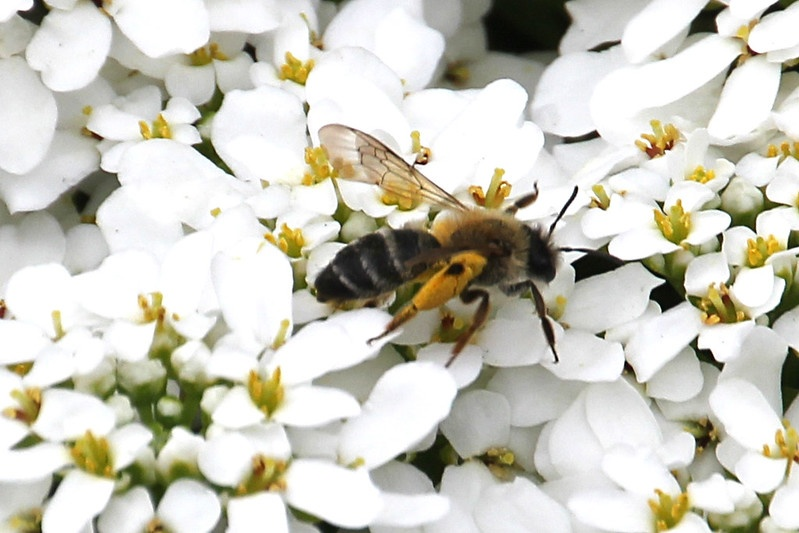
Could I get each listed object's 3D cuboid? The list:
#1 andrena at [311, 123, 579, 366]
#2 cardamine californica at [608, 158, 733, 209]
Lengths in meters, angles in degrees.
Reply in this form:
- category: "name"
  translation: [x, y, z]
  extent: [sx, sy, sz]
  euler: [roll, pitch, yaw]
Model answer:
- category: "andrena"
  translation: [0.048, -0.018, 1.411]
  extent: [0.418, 0.299, 0.140]
  euler: [15, -8, 2]
- category: "cardamine californica"
  translation: [0.417, -0.126, 1.499]
  extent: [0.189, 0.058, 0.201]
  euler: [2, 22, 25]
